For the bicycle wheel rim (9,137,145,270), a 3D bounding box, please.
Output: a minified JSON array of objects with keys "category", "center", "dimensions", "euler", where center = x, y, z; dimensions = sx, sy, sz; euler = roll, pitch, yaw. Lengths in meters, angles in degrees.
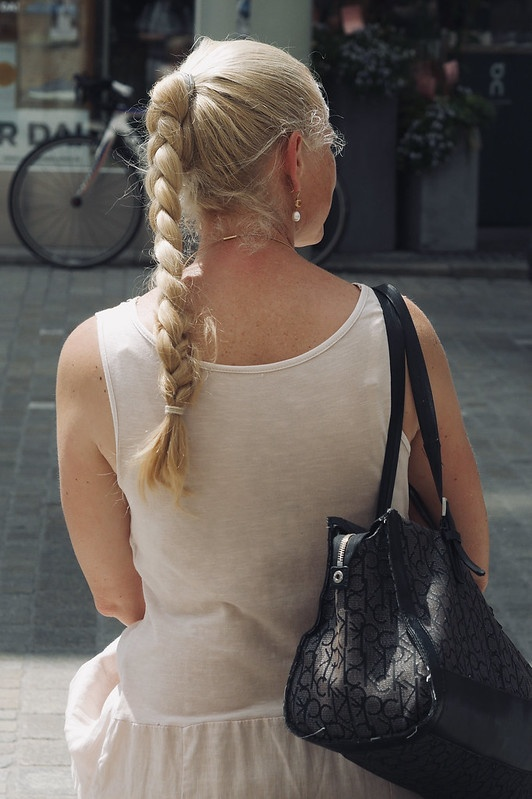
[{"category":"bicycle wheel rim","center":[-0.536,-0.540,2.734],"dimensions":[0.500,0.433,0.036],"euler":[-7,8,-21]}]
